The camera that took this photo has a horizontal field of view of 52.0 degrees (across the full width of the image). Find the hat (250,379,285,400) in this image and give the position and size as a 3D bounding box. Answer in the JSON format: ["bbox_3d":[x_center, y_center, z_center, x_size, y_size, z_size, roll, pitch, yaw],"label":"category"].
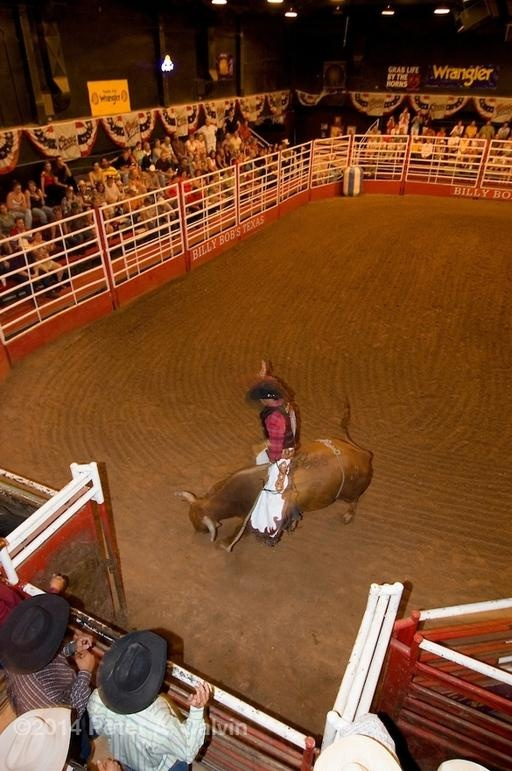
[{"bbox_3d":[0.075,0.045,3.621,0.175,0.139,0.211,18,35,27],"label":"hat"}]

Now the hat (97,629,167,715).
[{"bbox_3d":[-0.447,1.097,2.043,0.261,0.083,0.280,25,80,24],"label":"hat"}]
